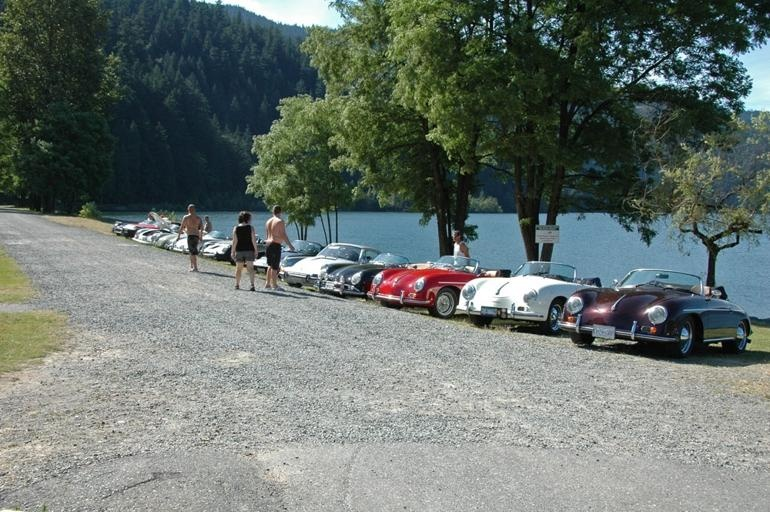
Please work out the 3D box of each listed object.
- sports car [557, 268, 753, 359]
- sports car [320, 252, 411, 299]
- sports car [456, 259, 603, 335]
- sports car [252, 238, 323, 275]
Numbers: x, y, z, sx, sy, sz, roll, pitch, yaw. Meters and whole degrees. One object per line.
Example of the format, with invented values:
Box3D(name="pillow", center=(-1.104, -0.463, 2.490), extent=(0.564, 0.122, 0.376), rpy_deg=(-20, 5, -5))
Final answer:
Box3D(name="sports car", center=(7.833, 1.630, 21.069), extent=(4.366, 1.677, 2.460), rpy_deg=(8, -7, -40))
Box3D(name="sports car", center=(-0.490, 0.762, 27.151), extent=(2.805, 1.031, 1.525), rpy_deg=(2, -2, -38))
Box3D(name="sports car", center=(3.986, 1.215, 22.607), extent=(3.868, 1.486, 2.059), rpy_deg=(5, -6, -44))
Box3D(name="sports car", center=(-3.444, 0.089, 31.353), extent=(2.504, 1.077, 1.432), rpy_deg=(0, 2, -40))
